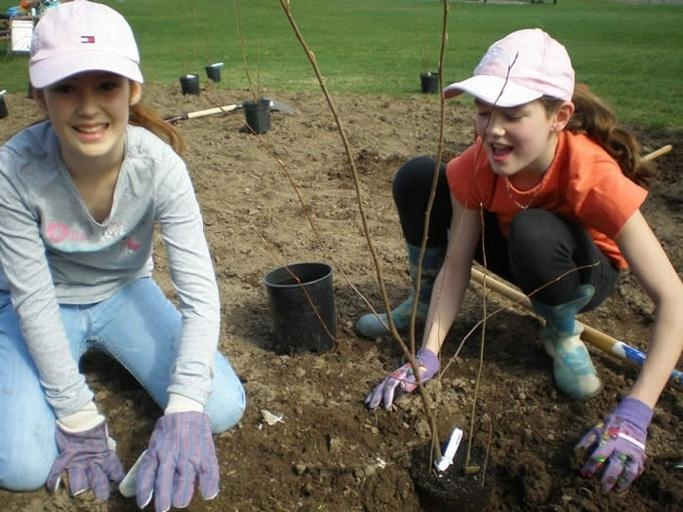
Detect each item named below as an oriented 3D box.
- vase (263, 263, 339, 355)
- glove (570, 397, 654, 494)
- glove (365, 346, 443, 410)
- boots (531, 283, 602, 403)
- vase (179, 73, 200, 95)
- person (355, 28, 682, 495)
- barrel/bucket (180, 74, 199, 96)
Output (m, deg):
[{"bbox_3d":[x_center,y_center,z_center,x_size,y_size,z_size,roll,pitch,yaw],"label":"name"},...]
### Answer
[{"bbox_3d":[-0.189,0.348,3.706,0.359,0.463,0.381,-2,-7,-15],"label":"vase"},{"bbox_3d":[1.153,0.815,2.903,0.250,0.421,0.131,27,12,18],"label":"glove"},{"bbox_3d":[0.300,0.589,3.270,0.385,0.133,0.215,-47,32,-15],"label":"glove"},{"bbox_3d":[1.097,0.382,3.370,0.220,0.526,0.514,-16,43,2],"label":"boots"},{"bbox_3d":[-1.647,-1.881,7.592,0.189,0.197,0.212,4,37,8],"label":"vase"},{"bbox_3d":[0.872,-0.106,3.173,1.416,1.701,0.997,16,32,31],"label":"person"},{"bbox_3d":[-1.664,-1.896,7.606,0.191,0.207,0.207,-1,40,1],"label":"barrel/bucket"}]
